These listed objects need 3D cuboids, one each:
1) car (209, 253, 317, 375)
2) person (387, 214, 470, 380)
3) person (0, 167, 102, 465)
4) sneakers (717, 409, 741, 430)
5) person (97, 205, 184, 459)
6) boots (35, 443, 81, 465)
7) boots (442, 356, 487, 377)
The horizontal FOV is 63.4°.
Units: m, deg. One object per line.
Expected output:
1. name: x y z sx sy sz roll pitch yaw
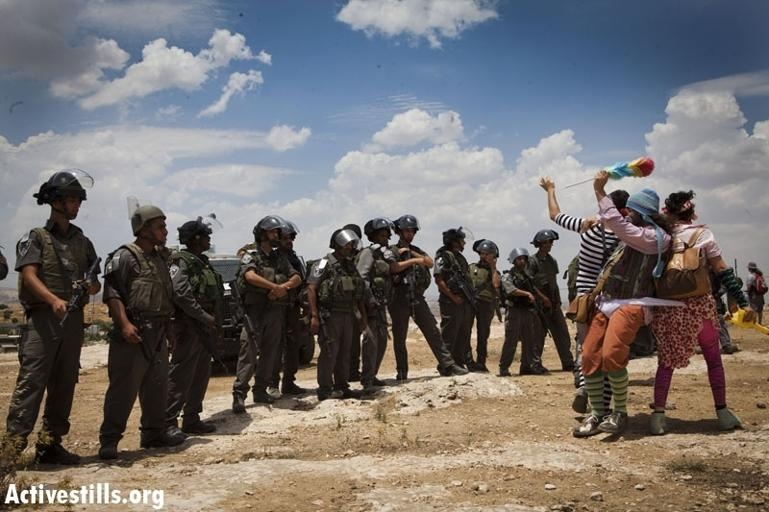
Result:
1. car: -2.344 1.167 12.739 2.584 2.325 3.990 3 -8 -25
2. person: 0.635 0.782 10.719 1.161 2.953 0.826 0 2 16
3. person: -3.726 0.684 7.043 0.993 3.347 0.626 -2 2 -36
4. sneakers: 4.116 1.931 7.386 0.295 0.246 0.168 -1 2 5
5. person: -2.917 0.880 7.437 0.944 2.990 0.583 -2 2 -35
6. boots: -3.698 2.233 7.078 0.550 0.260 0.225 2 -4 -6
7. boots: 1.371 1.940 10.878 0.571 0.384 0.196 -23 -33 33
